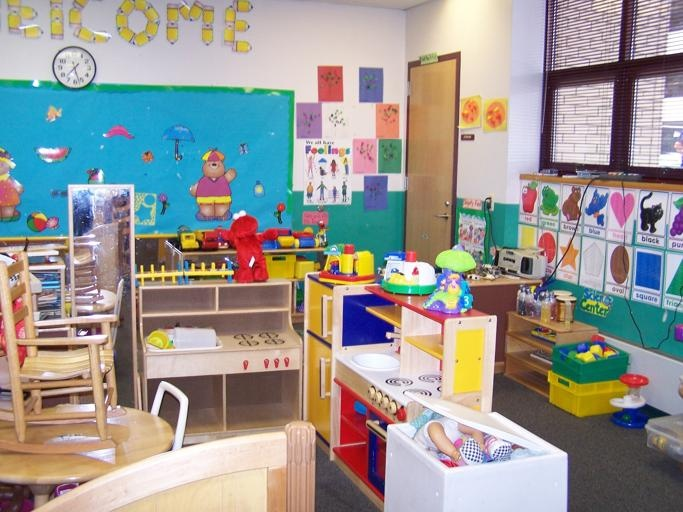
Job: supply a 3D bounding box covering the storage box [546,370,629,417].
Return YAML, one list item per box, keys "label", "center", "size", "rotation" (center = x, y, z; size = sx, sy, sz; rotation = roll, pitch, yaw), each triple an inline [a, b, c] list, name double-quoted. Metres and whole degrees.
- label: "storage box"
  center: [1.911, 1.055, 4.198]
  size: [0.363, 0.243, 0.372]
  rotation: [-4, 10, -19]

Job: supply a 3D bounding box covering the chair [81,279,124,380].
- label: "chair"
  center: [-1.545, 0.508, 3.450]
  size: [0.264, 0.448, 0.311]
  rotation: [-13, 16, -39]

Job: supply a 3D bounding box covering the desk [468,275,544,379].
- label: "desk"
  center: [1.305, 0.539, 4.173]
  size: [0.424, 0.785, 0.805]
  rotation: [-1, 7, -16]

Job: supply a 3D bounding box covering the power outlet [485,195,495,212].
- label: "power outlet"
  center: [1.468, -0.518, 5.294]
  size: [0.028, 0.157, 0.094]
  rotation: [-8, 15, -37]

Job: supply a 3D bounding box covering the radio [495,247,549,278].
- label: "radio"
  center: [1.652, 0.040, 5.082]
  size: [0.188, 0.261, 0.519]
  rotation: [-4, 13, -29]

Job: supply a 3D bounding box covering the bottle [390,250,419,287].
- label: "bottle"
  center: [0.335, 0.069, 3.066]
  size: [0.181, 0.205, 0.126]
  rotation: [-2, 9, -6]

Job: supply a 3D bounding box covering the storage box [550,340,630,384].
- label: "storage box"
  center: [1.935, 0.856, 4.221]
  size: [0.544, 0.231, 0.460]
  rotation: [-12, 8, -6]

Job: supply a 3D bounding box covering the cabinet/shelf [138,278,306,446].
- label: "cabinet/shelf"
  center: [-0.861, 0.729, 3.819]
  size: [0.994, 1.046, 0.511]
  rotation: [-1, 3, -19]

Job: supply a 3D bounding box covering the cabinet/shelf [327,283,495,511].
- label: "cabinet/shelf"
  center: [0.298, 0.804, 3.054]
  size: [0.400, 1.143, 1.098]
  rotation: [4, 1, -22]

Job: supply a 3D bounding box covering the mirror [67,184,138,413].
- label: "mirror"
  center: [-1.516, 0.198, 3.592]
  size: [0.317, 1.394, 0.025]
  rotation: [2, 20, -13]

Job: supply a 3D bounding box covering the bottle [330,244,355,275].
- label: "bottle"
  center: [0.018, 0.024, 3.457]
  size: [0.199, 0.227, 0.122]
  rotation: [0, 8, 2]

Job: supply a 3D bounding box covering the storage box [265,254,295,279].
- label: "storage box"
  center: [-0.639, 0.106, 5.653]
  size: [0.259, 0.210, 0.267]
  rotation: [-1, 4, -16]

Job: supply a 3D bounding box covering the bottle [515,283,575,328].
- label: "bottle"
  center: [1.760, 0.413, 4.626]
  size: [0.285, 0.216, 0.389]
  rotation: [-1, 4, -16]

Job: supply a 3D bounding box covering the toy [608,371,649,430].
- label: "toy"
  center: [2.152, 1.076, 3.997]
  size: [0.282, 0.327, 0.250]
  rotation: [-3, 6, -20]

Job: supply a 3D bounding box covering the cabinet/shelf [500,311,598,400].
- label: "cabinet/shelf"
  center: [1.725, 0.813, 4.667]
  size: [0.390, 0.519, 0.505]
  rotation: [-13, 14, -40]

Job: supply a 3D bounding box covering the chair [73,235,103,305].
- label: "chair"
  center: [-1.656, 0.100, 3.475]
  size: [0.271, 0.379, 0.140]
  rotation: [3, -4, -28]

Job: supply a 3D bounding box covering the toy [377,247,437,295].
- label: "toy"
  center: [0.404, 0.073, 3.127]
  size: [0.242, 0.201, 0.251]
  rotation: [-1, 8, -11]

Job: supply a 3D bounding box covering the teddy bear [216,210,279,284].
- label: "teddy bear"
  center: [-0.828, -0.069, 4.596]
  size: [0.567, 0.690, 0.359]
  rotation: [-3, -30, -15]

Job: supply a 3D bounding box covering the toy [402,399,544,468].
- label: "toy"
  center: [0.462, 0.681, 2.070]
  size: [0.248, 0.161, 0.338]
  rotation: [4, -2, -23]

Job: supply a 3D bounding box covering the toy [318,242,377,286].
- label: "toy"
  center: [0.042, 0.037, 3.546]
  size: [0.249, 0.248, 0.327]
  rotation: [-8, 12, -44]

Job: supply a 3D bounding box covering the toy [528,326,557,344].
- label: "toy"
  center: [1.726, 0.662, 4.559]
  size: [0.137, 0.098, 0.309]
  rotation: [-2, 12, -12]
